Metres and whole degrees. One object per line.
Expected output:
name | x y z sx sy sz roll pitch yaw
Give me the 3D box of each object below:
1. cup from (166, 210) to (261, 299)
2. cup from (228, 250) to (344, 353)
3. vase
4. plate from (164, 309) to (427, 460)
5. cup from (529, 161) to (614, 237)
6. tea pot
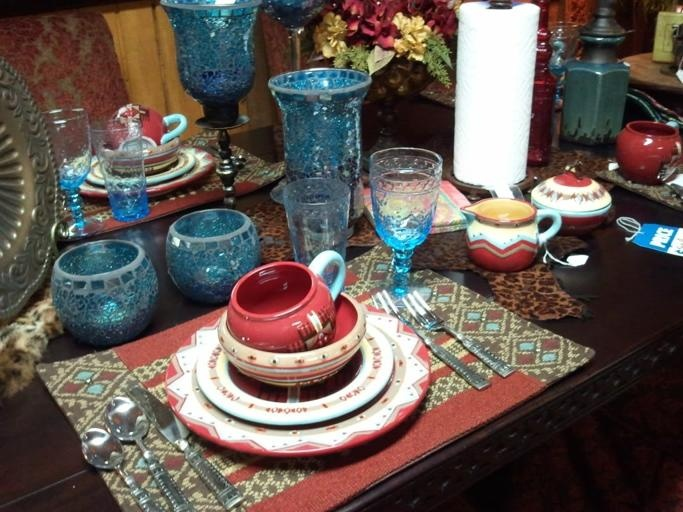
cup | -0.174 0.014 0.760 0.152 0.100 0.137 6 33 6
cup | -0.044 0.054 0.552 0.126 0.060 0.094 -28 43 -34
vase | 0.083 -0.365 1.122 0.178 0.180 0.160 -11 37 -7
plate | -0.039 0.131 0.524 0.281 0.024 0.179 -10 31 -12
cup | 0.392 -0.098 0.885 0.131 0.093 0.125 0 28 0
tea pot | 0.249 -0.039 0.784 0.155 0.086 0.107 2 32 12
